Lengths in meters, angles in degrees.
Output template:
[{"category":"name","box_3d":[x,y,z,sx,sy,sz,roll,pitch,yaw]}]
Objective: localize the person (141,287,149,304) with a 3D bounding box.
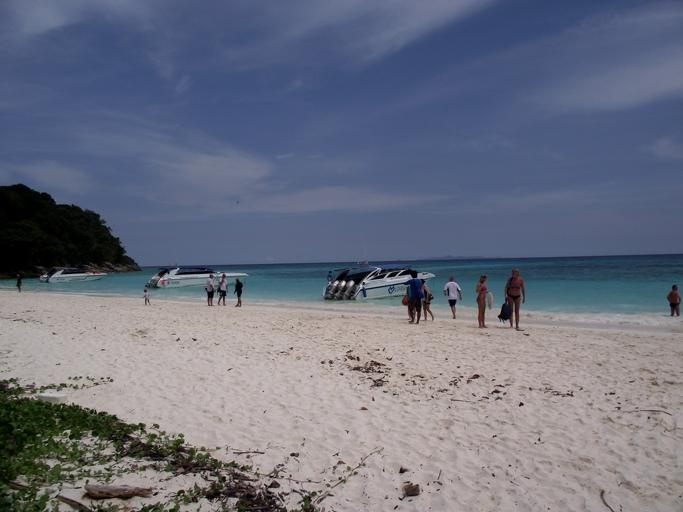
[{"category":"person","box_3d":[-11.347,2.371,27.757,0.278,0.810,1.360,-2,5,-19]}]

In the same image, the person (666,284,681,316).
[{"category":"person","box_3d":[14.985,1.977,21.526,0.440,1.435,1.852,4,6,35]}]

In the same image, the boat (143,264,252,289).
[{"category":"boat","box_3d":[-15.139,2.236,49.344,6.951,1.461,2.512,-5,10,-37]}]

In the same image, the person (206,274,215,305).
[{"category":"person","box_3d":[-7.503,1.935,27.184,0.403,1.829,1.434,-2,6,-16]}]
